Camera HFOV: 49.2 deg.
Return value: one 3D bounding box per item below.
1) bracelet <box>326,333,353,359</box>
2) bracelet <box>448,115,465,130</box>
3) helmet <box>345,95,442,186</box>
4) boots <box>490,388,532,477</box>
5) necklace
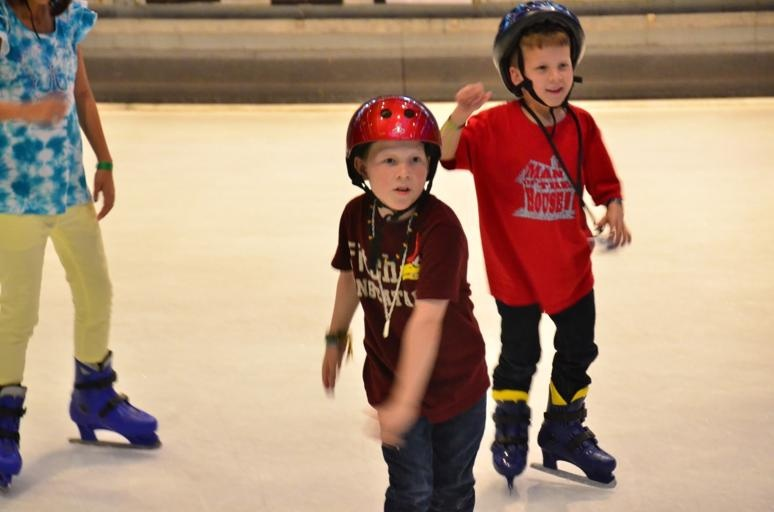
[{"bbox_3d":[-0.182,0.348,3.365,0.099,0.101,0.090,-8,5,1],"label":"bracelet"},{"bbox_3d":[0.286,-0.546,3.496,0.055,0.040,0.056,-2,21,-7],"label":"bracelet"},{"bbox_3d":[0.036,-0.438,3.341,0.350,0.394,0.429,-2,7,4],"label":"helmet"},{"bbox_3d":[0.551,0.803,3.770,0.193,0.328,0.130,4,-8,-10],"label":"boots"},{"bbox_3d":[0.040,0.054,3.255,0.141,0.543,0.037,5,-1,7],"label":"necklace"}]
